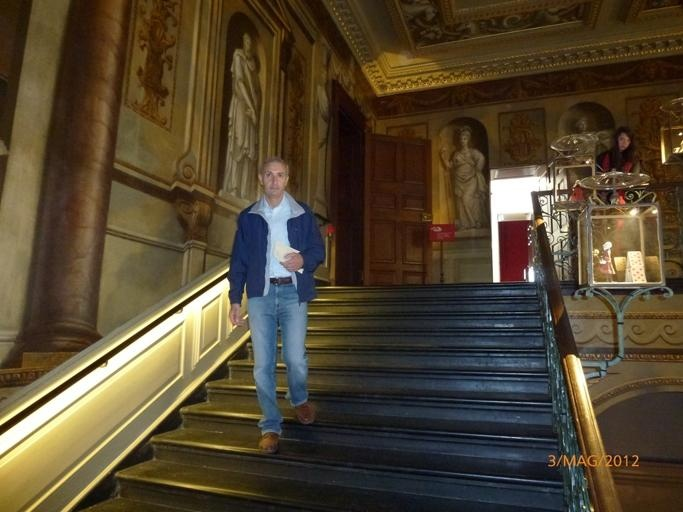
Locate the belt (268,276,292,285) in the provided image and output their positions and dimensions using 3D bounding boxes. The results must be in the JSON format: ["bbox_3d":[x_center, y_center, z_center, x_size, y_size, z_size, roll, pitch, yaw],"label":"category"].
[{"bbox_3d":[-0.387,0.156,2.873,0.137,0.054,0.010,2,-1,-10],"label":"belt"}]

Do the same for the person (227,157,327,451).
[{"bbox_3d":[-0.427,0.311,2.935,0.621,1.888,0.390,2,-1,-11],"label":"person"}]

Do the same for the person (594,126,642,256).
[{"bbox_3d":[3.948,-1.093,6.479,0.460,1.332,0.389,12,11,22],"label":"person"}]

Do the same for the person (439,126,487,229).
[{"bbox_3d":[2.640,-1.659,9.497,0.961,2.291,0.479,1,-1,26],"label":"person"}]

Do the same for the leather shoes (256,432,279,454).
[{"bbox_3d":[-0.451,1.160,2.828,0.127,0.118,0.188,2,0,-9],"label":"leather shoes"}]

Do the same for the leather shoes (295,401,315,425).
[{"bbox_3d":[-0.229,1.044,3.033,0.112,0.157,0.051,0,-1,13],"label":"leather shoes"}]
